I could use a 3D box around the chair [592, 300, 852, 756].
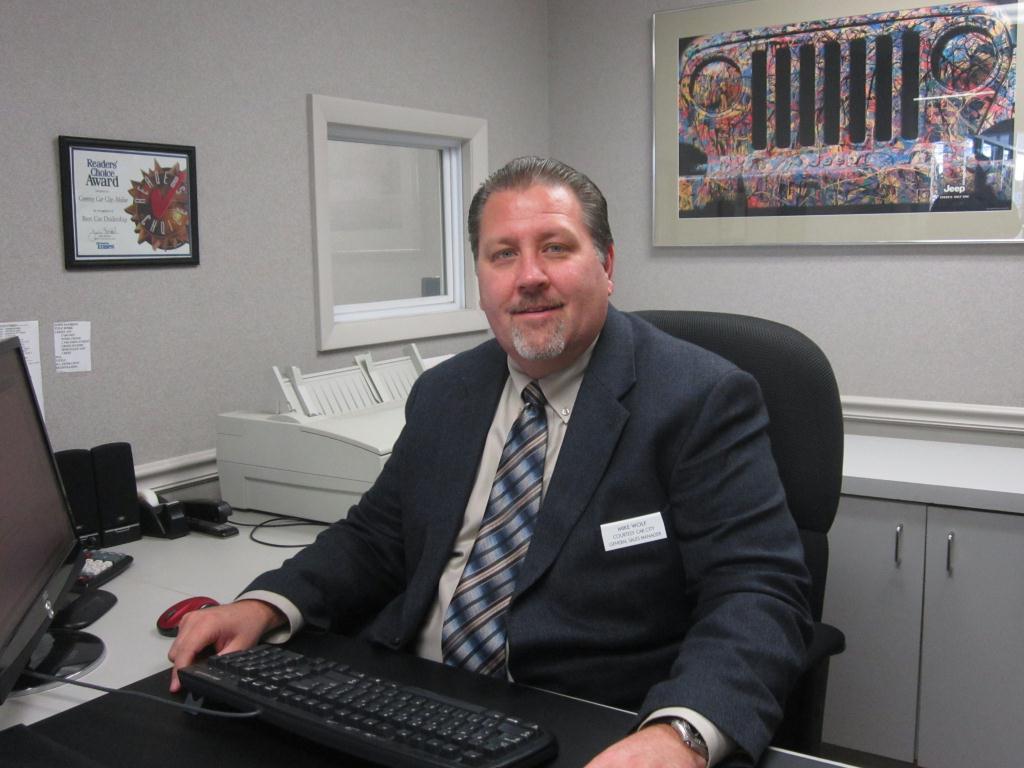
[{"bbox_3d":[0.511,0.260,1.906,0.691,1.229,0.702,1,3,26],"label":"chair"}]

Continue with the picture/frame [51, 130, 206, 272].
[{"bbox_3d":[-1.054,-0.500,2.060,0.016,0.362,0.379,7,12,37],"label":"picture/frame"}]

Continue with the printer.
[{"bbox_3d":[-0.523,0.058,2.250,0.503,0.362,0.555,4,6,23],"label":"printer"}]

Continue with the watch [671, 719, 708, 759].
[{"bbox_3d":[0.244,0.481,1.039,0.030,0.014,0.052,-25,69,-43],"label":"watch"}]
